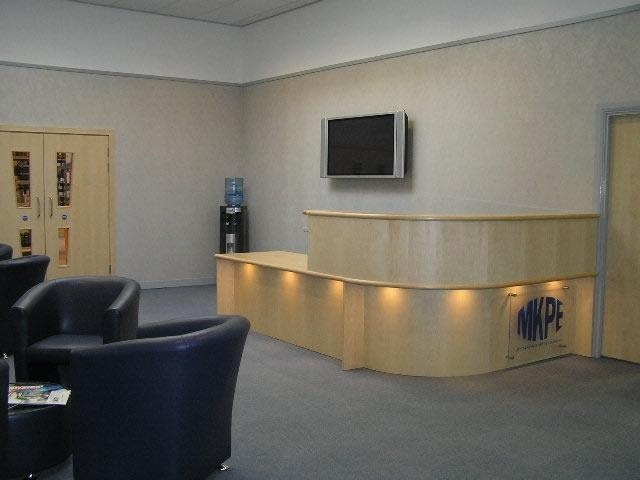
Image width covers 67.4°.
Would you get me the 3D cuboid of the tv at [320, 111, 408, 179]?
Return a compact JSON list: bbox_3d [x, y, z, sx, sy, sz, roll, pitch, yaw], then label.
[{"bbox_3d":[0.576,-1.352,6.862,0.112,0.884,1.518,-6,9,-43],"label":"tv"}]
